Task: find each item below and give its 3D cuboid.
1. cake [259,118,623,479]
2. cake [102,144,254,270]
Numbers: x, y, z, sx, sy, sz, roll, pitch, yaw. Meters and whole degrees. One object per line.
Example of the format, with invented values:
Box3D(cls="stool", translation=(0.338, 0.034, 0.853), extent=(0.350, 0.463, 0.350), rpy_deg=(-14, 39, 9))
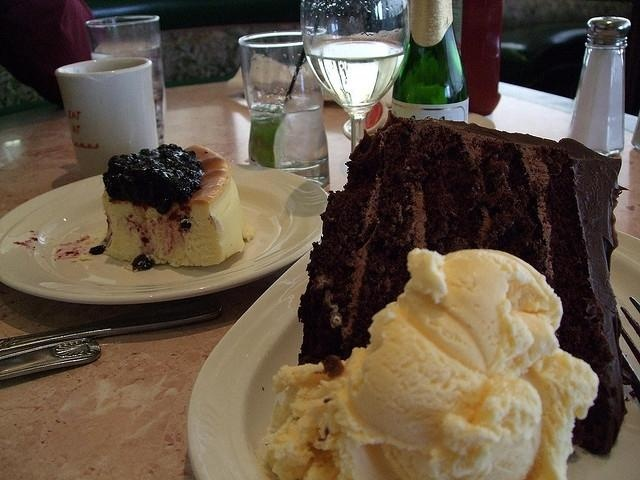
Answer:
Box3D(cls="cake", translation=(0.169, 0.090, 0.734), extent=(0.456, 0.441, 0.191), rpy_deg=(10, 0, 11))
Box3D(cls="cake", translation=(-0.296, -0.064, 1.169), extent=(0.252, 0.180, 0.262), rpy_deg=(16, 28, 25))
